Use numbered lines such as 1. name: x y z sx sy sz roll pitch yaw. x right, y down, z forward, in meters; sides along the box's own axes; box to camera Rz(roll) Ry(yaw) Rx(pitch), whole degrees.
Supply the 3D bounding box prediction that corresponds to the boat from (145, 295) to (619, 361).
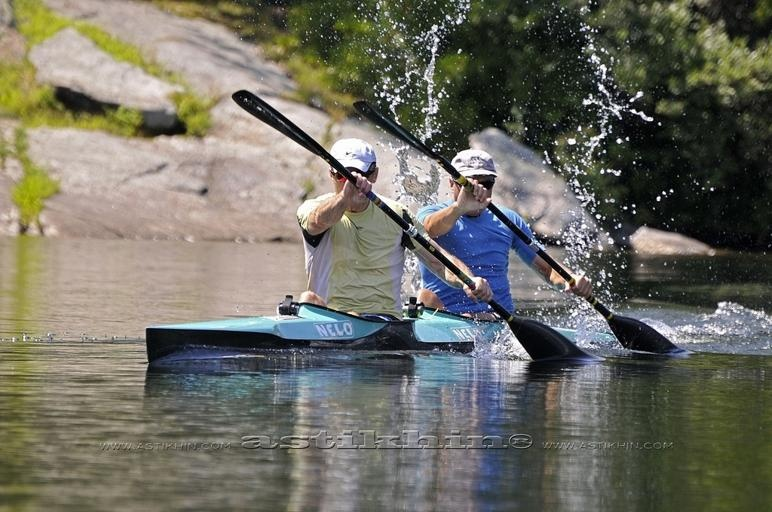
1. boat: -0.696 0.853 14.628 4.140 0.764 0.317 1 -3 -17
